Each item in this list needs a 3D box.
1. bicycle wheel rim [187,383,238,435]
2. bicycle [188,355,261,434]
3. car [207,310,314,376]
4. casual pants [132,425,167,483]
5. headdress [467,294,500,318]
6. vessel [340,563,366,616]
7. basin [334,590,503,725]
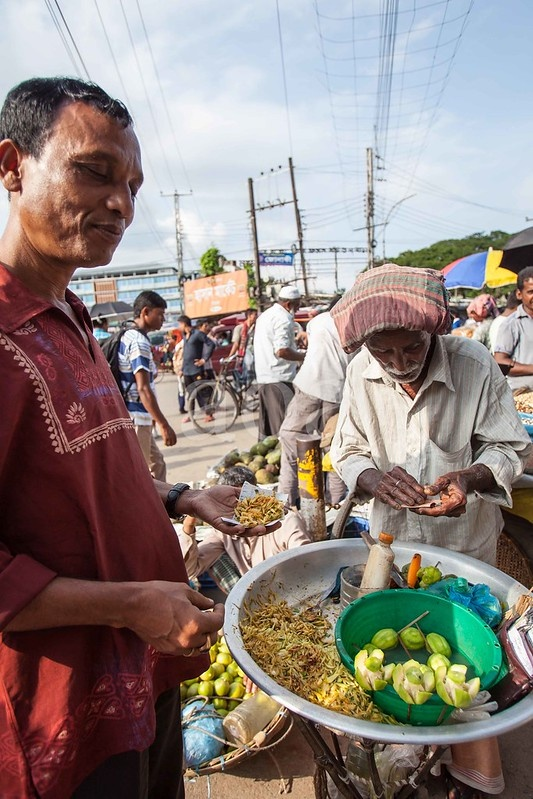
[{"bbox_3d":[-0.977,0.076,10.493,0.300,0.940,0.989,5,20,23],"label":"bicycle wheel rim"},{"bbox_3d":[-0.864,-0.022,10.775,0.861,1.148,2.020,15,18,36],"label":"bicycle"},{"bbox_3d":[-0.161,-1.977,20.002,4.082,2.227,2.294,-2,21,-4],"label":"car"},{"bbox_3d":[-1.080,0.450,5.369,0.237,0.224,0.776,-11,42,-3],"label":"casual pants"},{"bbox_3d":[2.850,-1.211,7.472,0.396,0.265,0.531,9,12,12],"label":"headdress"},{"bbox_3d":[0.286,0.684,2.010,0.113,0.117,0.114,-1,3,1],"label":"vessel"},{"bbox_3d":[0.501,0.706,1.676,0.333,0.120,0.315,1,8,0],"label":"basin"}]
